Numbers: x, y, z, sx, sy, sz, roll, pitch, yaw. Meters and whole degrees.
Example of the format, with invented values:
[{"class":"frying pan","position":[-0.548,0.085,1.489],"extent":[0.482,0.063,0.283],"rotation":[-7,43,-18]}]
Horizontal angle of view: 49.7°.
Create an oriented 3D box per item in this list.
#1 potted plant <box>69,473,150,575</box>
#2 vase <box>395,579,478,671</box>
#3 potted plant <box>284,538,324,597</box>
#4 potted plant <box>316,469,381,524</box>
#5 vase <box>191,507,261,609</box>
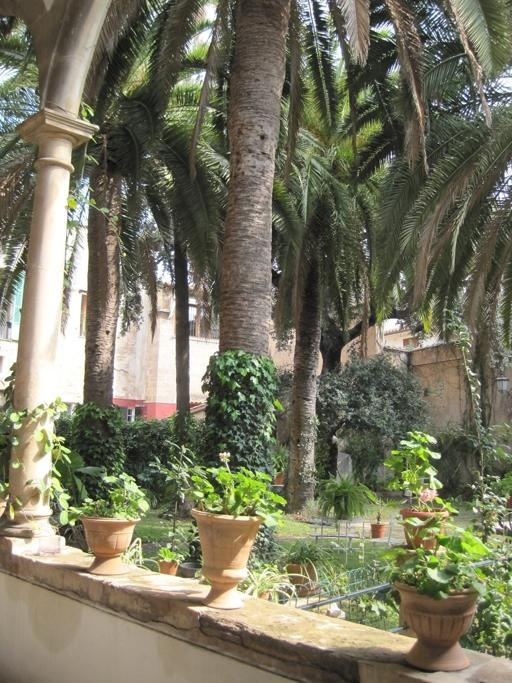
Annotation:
[{"class":"potted plant","position":[-0.705,0.883,2.676],"extent":[0.336,0.439,0.324],"rotation":[-2,-13,12]},{"class":"vase","position":[0.498,0.786,1.524],"extent":[0.211,0.211,0.192],"rotation":[2,-10,4]},{"class":"potted plant","position":[0.525,2.542,6.161],"extent":[0.362,0.424,0.398],"rotation":[5,-24,-1]},{"class":"potted plant","position":[1.852,3.509,12.594],"extent":[1.239,0.860,1.254],"rotation":[1,-4,-30]},{"class":"vase","position":[-0.116,0.825,2.132],"extent":[0.301,0.356,0.294],"rotation":[8,-8,-44]}]
